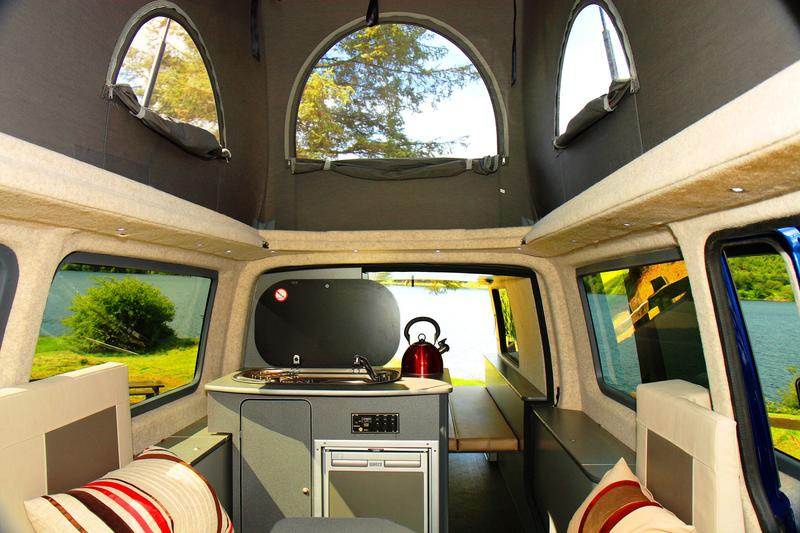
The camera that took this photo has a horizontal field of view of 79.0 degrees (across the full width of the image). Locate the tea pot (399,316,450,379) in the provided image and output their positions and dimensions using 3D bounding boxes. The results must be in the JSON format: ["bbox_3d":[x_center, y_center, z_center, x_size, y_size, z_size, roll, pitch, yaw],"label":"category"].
[{"bbox_3d":[0.224,0.723,4.255,0.548,0.542,0.412,2,-13,-3],"label":"tea pot"}]
